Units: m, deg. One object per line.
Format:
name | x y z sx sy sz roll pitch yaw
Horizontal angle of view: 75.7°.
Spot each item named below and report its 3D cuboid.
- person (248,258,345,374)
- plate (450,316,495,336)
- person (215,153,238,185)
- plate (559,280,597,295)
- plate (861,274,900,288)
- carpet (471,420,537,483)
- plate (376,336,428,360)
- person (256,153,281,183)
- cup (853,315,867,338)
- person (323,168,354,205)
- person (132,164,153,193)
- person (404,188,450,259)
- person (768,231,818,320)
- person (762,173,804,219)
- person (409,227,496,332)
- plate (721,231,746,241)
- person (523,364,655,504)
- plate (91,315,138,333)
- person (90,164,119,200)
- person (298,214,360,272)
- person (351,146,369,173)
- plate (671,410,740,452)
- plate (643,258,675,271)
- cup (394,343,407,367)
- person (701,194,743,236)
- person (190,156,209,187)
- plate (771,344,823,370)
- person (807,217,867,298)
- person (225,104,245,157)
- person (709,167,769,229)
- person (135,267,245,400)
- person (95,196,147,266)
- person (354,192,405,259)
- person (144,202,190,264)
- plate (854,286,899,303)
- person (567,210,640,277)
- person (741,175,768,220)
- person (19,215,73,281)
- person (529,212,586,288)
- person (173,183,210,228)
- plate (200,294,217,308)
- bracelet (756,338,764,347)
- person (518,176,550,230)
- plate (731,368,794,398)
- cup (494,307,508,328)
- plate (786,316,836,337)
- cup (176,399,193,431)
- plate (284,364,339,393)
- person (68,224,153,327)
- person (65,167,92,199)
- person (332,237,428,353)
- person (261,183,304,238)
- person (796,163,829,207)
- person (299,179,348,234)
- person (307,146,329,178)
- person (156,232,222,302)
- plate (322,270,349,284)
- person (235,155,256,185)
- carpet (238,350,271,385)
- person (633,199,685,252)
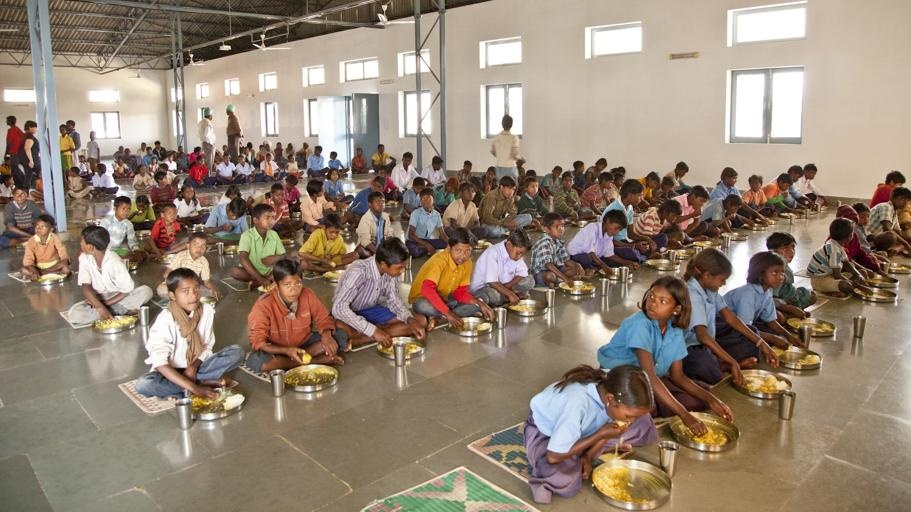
person | -1.830 0.707 6.563 0.869 0.848 0.737 -25 48 -37
plate | 0.191 0.845 7.035 0.508 0.145 0.317 -1 12 1
person | -7.163 -2.676 18.154 0.627 0.833 0.711 -6 13 -18
plate | 1.679 0.434 8.135 0.489 0.152 0.295 -1 12 0
plate | 5.922 0.348 8.131 0.322 0.056 0.301 -4 6 -20
carpet | 0.451 1.747 5.262 0.484 0.020 0.503 -18 27 -37
plate | -0.604 1.033 6.565 0.329 0.049 0.319 -6 11 -30
person | -6.313 -2.967 19.547 0.660 0.898 1.397 -5 12 -14
cup | 4.742 0.823 6.852 0.217 0.243 0.110 -7 14 -22
person | -2.848 -1.610 13.813 0.730 0.810 0.780 -12 26 -33
person | -9.050 -2.246 16.923 0.536 0.743 0.976 -8 14 -25
person | -0.493 -0.578 9.977 0.966 1.053 0.850 -5 19 -32
person | 4.234 0.210 7.364 0.699 0.991 0.932 5 -1 21
person | 6.929 -1.306 12.367 0.712 0.836 0.885 -4 13 -5
person | -0.086 0.254 7.154 1.138 1.099 1.068 19 17 30
plate | 5.054 -0.350 10.632 0.263 0.072 0.375 -9 14 -36
person | 1.152 1.443 4.992 1.119 1.135 0.437 -3 13 -5
plate | -4.131 0.824 7.102 0.357 0.128 0.440 10 16 44
person | -9.555 -2.056 15.828 0.762 0.876 0.608 -1 8 -13
person | -1.978 -0.190 8.828 0.976 0.832 0.676 -6 28 -42
person | -3.346 -3.267 20.205 0.627 0.846 0.330 -8 15 -28
plate | 2.317 1.598 5.383 0.412 0.071 0.384 -3 14 -5
plate | 3.177 0.148 9.106 0.478 0.110 0.349 2 12 18
cup | -0.594 1.018 6.090 0.098 0.220 0.142 -4 13 -11
person | 4.792 -0.842 11.022 0.813 0.567 0.746 1 -25 46
person | -7.740 -2.493 17.539 0.525 0.817 1.172 -7 13 -23
plate | 3.733 1.102 6.361 0.338 0.060 0.316 1 12 18
person | 5.286 -0.006 7.964 0.867 0.946 0.803 -7 15 -7
person | -7.380 -4.087 19.329 0.447 1.661 1.524 -7 13 -20
person | 5.494 -1.194 11.366 1.064 0.968 0.787 9 7 30
person | -2.890 0.876 6.334 0.877 1.025 1.036 19 24 34
person | -5.090 -0.402 8.894 0.871 0.896 0.651 7 11 -30
person | -1.282 -0.501 9.337 0.744 1.010 0.908 19 24 38
person | -4.704 -0.434 9.411 0.618 0.843 0.731 16 11 26
plate | 5.670 0.500 7.809 0.549 0.188 0.310 -3 12 -9
person | 2.177 -0.269 8.768 1.032 0.845 1.059 6 -1 36
person | 6.158 -1.204 11.924 0.674 0.830 0.724 10 9 33
person | -5.958 -0.127 8.489 0.668 0.766 0.605 -6 28 -38
person | 1.421 -0.091 8.270 0.821 0.973 0.940 11 15 36
person | -5.417 -0.999 11.816 0.898 0.815 0.544 2 13 -16
plate | -3.046 0.554 7.192 0.242 0.092 0.225 12 18 34
bracelet | 3.219 0.910 6.204 0.081 0.035 0.084 -1 28 34
person | 1.673 -1.112 12.001 0.959 0.894 0.750 7 15 11
plate | 3.115 1.300 5.959 0.486 0.176 0.418 -6 12 -24
cup | 0.534 0.727 7.206 0.235 0.297 0.284 2 3 2
plate | 4.260 0.838 6.958 0.323 0.039 0.315 -6 12 -23
cup | -2.573 1.475 5.521 0.143 0.270 0.113 -3 13 -7
plate | -1.505 1.260 6.080 0.555 0.170 0.361 -3 12 -9
person | -4.552 0.288 7.721 1.064 1.040 0.706 -21 42 -31
person | -9.972 -1.923 15.372 0.541 0.802 0.618 -3 13 -8
person | -0.818 0.406 6.828 1.329 1.260 1.172 8 23 -17
person | -3.421 -0.895 10.998 0.795 0.840 0.682 6 -11 11
person | 7.862 -1.574 12.896 0.598 0.765 0.760 9 33 31
person | -2.571 -0.935 10.929 0.757 0.889 0.953 14 27 17
person | -4.861 -3.279 20.301 0.652 1.040 0.962 -5 13 -13
person | -3.510 0.136 7.759 0.878 0.849 0.592 9 11 -22
plate | -1.762 0.280 8.536 0.359 0.074 0.329 -6 18 -22
person | -6.812 -2.780 18.792 0.513 0.848 0.988 -6 13 -17
carpet | -2.091 1.195 6.297 0.454 0.286 0.105 22 -21 25
person | 3.394 -0.512 9.804 0.742 0.927 0.842 19 27 39
